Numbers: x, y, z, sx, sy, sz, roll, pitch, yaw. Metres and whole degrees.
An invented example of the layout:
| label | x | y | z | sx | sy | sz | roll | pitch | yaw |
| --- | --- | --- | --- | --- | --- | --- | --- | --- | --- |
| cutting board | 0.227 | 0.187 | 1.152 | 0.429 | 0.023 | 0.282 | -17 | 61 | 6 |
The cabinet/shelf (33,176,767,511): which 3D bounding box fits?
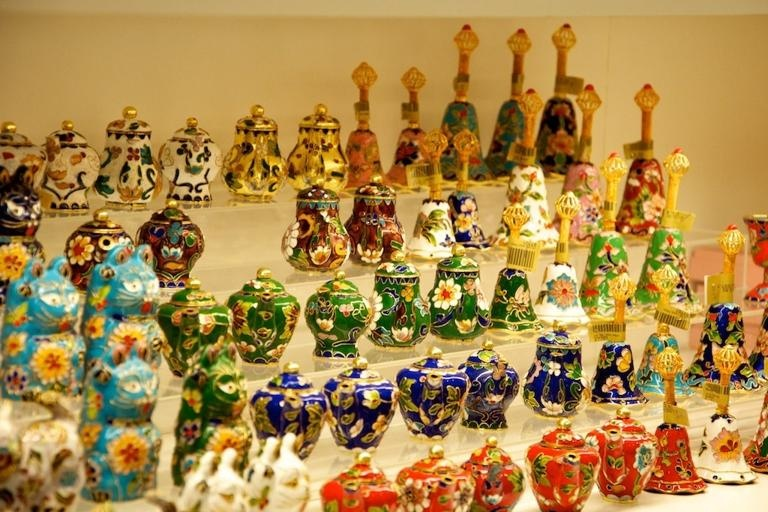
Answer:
| label | x | y | z | sx | sy | sz | roll | pitch | yaw |
| --- | --- | --- | --- | --- | --- | --- | --- | --- | --- |
| cabinet/shelf | -0.134 | 0.172 | 1.993 | 1.428 | 0.486 | 0.929 | -1 | 4 | -17 |
